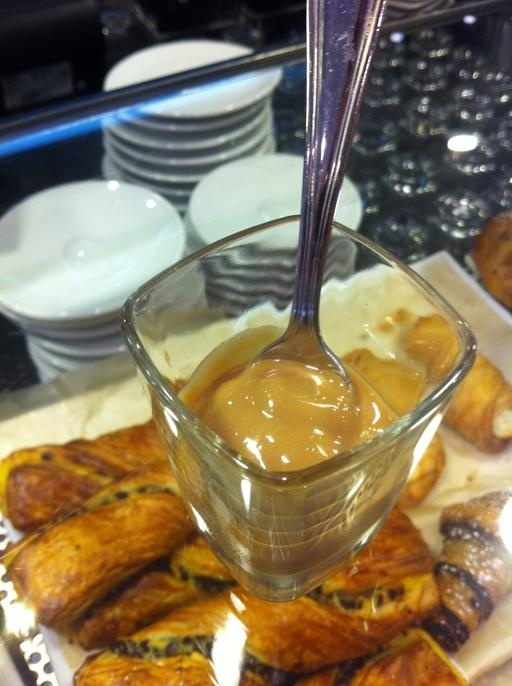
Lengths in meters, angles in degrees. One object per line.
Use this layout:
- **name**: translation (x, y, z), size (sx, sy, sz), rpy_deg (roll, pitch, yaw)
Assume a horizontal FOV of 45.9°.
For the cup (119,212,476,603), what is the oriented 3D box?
- **cup**: translation (0.023, 0.032, 0.335), size (0.161, 0.142, 0.153), rpy_deg (0, 43, 0)
